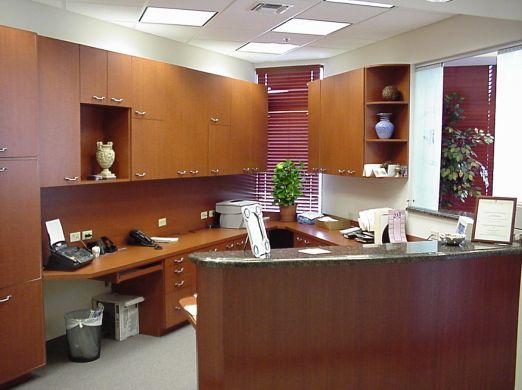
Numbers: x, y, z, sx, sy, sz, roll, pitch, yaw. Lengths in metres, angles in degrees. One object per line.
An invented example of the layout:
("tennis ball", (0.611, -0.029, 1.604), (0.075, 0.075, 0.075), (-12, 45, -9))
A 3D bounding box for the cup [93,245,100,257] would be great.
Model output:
("cup", (-1.677, 0.581, 4.243), (0.079, 0.107, 0.094), (4, 3, 10))

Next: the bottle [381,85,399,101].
("bottle", (1.498, -1.176, 4.877), (0.195, 0.181, 0.051), (4, -4, -1))

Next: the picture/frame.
("picture/frame", (1.828, 0.209, 3.280), (0.363, 0.470, 0.048), (7, -15, 21))

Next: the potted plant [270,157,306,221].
("potted plant", (0.384, -0.033, 6.030), (0.523, 0.762, 0.466), (-2, 8, 10))

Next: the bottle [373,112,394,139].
("bottle", (1.456, -0.823, 4.939), (0.227, 0.328, 0.262), (0, 5, 17))

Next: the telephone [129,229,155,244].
("telephone", (-1.378, 0.506, 4.773), (0.295, 0.106, 0.159), (20, 7, 9))

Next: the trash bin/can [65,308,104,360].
("trash bin/can", (-1.768, 1.408, 4.199), (0.371, 0.416, 0.402), (0, -1, -26))

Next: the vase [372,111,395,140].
("vase", (1.462, -0.826, 4.941), (0.225, 0.279, 0.230), (8, 18, 39))

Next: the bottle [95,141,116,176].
("bottle", (-1.612, -0.370, 4.328), (0.198, 0.355, 0.191), (1, 9, 0))

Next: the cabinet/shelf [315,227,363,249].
("cabinet/shelf", (0.910, 0.542, 5.109), (0.449, 0.137, 0.963), (-2, 5, -2))

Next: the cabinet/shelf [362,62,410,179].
("cabinet/shelf", (1.461, -0.843, 4.961), (0.622, 1.387, 0.471), (13, 32, 40))

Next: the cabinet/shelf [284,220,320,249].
("cabinet/shelf", (0.507, 0.553, 5.476), (0.209, 0.270, 0.780), (-3, 5, -16))
